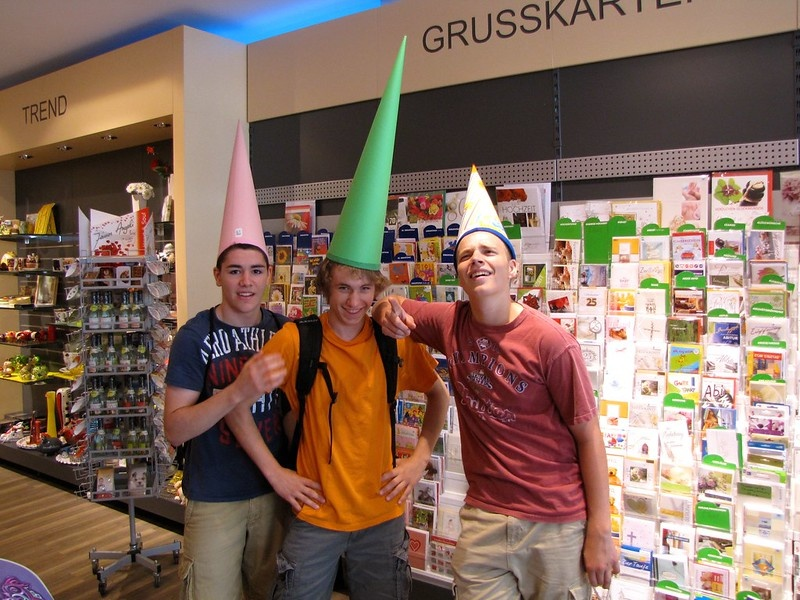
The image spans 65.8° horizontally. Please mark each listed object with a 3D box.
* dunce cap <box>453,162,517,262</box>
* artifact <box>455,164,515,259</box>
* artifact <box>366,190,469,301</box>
[{"bbox_3d":[0.382,-0.414,2.921,0.272,0.506,0.273,-15,-36,24],"label":"dunce cap"},{"bbox_3d":[0.370,-0.433,2.832,0.162,0.305,0.166,-10,2,1],"label":"artifact"},{"bbox_3d":[0.133,-0.316,3.802,0.709,0.749,0.387,1,2,38],"label":"artifact"}]
